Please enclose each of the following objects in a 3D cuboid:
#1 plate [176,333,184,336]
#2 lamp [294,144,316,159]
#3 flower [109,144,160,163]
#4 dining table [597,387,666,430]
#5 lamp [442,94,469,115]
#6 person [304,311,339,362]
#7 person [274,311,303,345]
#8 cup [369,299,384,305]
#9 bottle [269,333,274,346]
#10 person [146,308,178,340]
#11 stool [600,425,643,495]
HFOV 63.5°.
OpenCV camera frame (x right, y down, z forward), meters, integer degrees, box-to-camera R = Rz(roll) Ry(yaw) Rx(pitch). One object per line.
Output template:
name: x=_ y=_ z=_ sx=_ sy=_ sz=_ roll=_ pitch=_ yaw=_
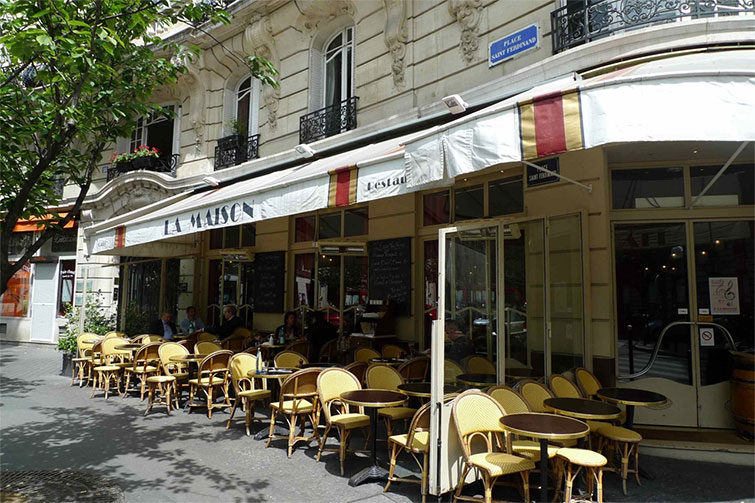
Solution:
plate: x=-4.736 y=2.003 z=14.748 sx=0.200 sy=0.049 sz=0.211 roll=1 pitch=-1 yaw=-23
lamp: x=-1.773 y=-2.407 z=14.727 sx=0.535 sy=0.314 sz=0.442 roll=4 pitch=9 yaw=27
flower: x=-7.559 y=-3.108 z=19.499 sx=1.939 sy=0.534 sz=0.825 roll=6 pitch=10 yaw=37
dining table: x=3.813 y=2.202 z=9.219 sx=0.728 sy=0.541 sz=0.735 roll=-2 pitch=1 yaw=41
lamp: x=1.514 y=-2.867 z=11.818 sx=0.412 sy=0.352 sz=0.801 roll=2 pitch=8 yaw=14
person: x=-1.233 y=1.875 z=13.297 sx=0.902 sy=1.260 sz=0.886 roll=1 pitch=-2 yaw=-11
person: x=-2.050 y=1.957 z=14.119 sx=0.609 sy=1.197 sz=0.633 roll=1 pitch=-8 yaw=-4
cup: x=-0.031 y=1.125 z=13.484 sx=0.403 sy=0.138 sz=0.074 roll=6 pitch=10 yaw=37
bottle: x=-2.304 y=1.938 z=13.380 sx=0.156 sy=0.293 sz=0.157 roll=0 pitch=-6 yaw=0
person: x=-5.612 y=1.923 z=16.079 sx=0.435 sy=0.721 sz=0.658 roll=-15 pitch=-15 yaw=34
stool: x=3.656 y=3.001 z=9.172 sx=0.607 sy=0.820 sz=0.866 roll=7 pitch=11 yaw=42
